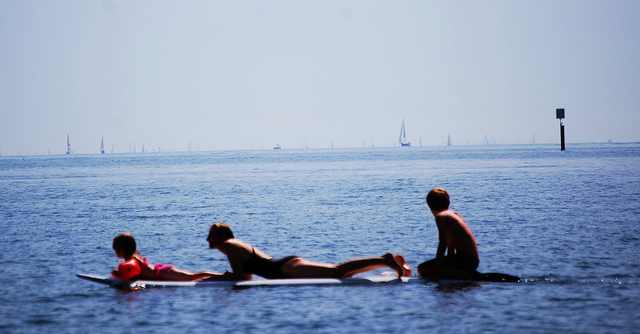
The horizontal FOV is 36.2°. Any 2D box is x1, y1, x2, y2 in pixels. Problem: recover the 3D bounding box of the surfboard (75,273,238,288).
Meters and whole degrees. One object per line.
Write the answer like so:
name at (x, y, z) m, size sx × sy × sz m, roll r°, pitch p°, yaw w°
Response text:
surfboard at (-10.969, 7.870, 67.550) m, size 10.406 × 0.837 × 0.588 m, roll -1°, pitch 0°, yaw 3°
